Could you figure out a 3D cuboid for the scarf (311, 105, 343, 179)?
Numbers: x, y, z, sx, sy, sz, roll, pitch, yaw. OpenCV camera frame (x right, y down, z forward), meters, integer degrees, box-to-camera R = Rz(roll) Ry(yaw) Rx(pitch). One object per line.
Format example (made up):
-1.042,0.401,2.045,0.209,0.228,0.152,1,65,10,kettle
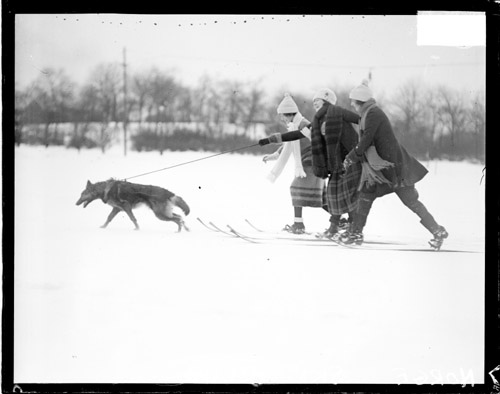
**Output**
0.481,-0.348,6.040,0.200,0.459,0.058,1,8,-10,scarf

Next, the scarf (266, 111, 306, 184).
0.261,-0.328,6.028,0.263,0.547,0.088,-3,41,-16,scarf

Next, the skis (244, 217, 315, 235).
0.186,0.190,6.054,0.427,0.039,0.065,4,-14,0,skis

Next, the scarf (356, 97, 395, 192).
0.781,-0.325,6.060,0.219,0.517,0.331,-3,16,-18,scarf

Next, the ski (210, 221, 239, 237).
-0.170,0.205,6.051,0.173,0.088,0.014,4,8,7,ski
